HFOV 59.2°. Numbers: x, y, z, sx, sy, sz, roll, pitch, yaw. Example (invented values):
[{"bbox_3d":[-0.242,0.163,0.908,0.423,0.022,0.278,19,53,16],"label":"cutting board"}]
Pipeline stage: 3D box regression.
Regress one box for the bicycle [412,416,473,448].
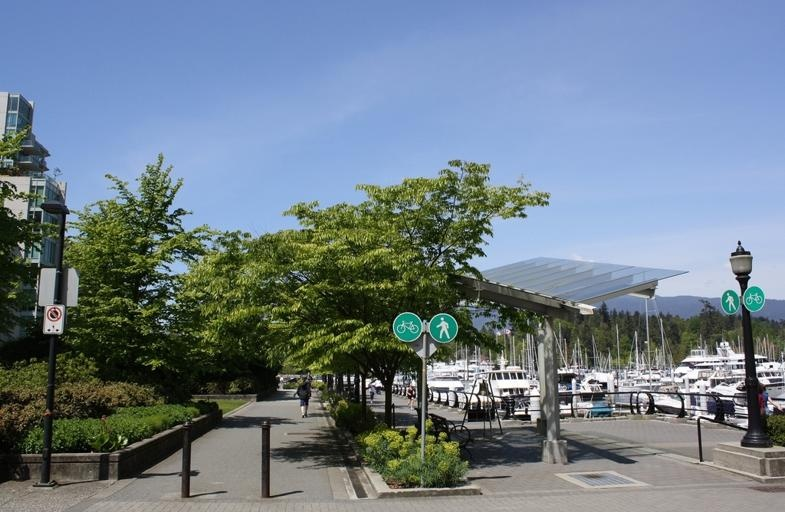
[{"bbox_3d":[1.808,6.328,24.793,0.983,1.186,3.269,-4,-6,-6],"label":"bicycle"}]
